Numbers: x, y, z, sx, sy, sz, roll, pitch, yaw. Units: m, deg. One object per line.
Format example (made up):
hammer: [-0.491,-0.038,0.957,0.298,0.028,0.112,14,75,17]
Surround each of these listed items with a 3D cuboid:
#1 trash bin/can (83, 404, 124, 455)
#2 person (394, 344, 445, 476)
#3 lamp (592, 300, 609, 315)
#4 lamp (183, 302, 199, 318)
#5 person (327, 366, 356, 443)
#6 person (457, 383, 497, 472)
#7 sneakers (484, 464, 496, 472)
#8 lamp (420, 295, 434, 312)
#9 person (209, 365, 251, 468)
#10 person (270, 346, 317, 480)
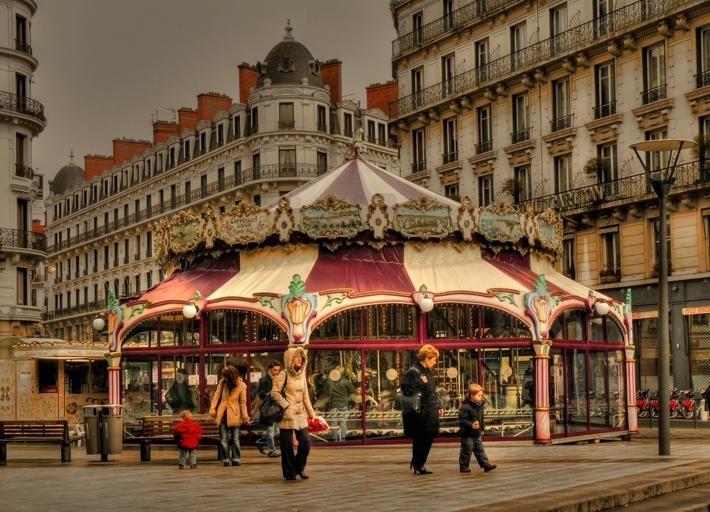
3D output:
trash bin/can: [-7.895,5.480,47.439,1.360,1.759,1.513,0,-8,-9]
person: [1.804,4.358,42.733,1.167,3.546,0.633,5,-1,-11]
lamp: [8.538,1.779,52.286,0.427,0.491,0.545,-2,6,2]
lamp: [-5.483,1.801,50.318,0.569,0.529,0.677,5,-1,-6]
person: [-0.401,4.875,49.667,0.805,2.617,0.616,-11,-9,44]
person: [3.403,4.975,43.291,0.939,2.564,0.854,-6,-9,42]
sneakers: [3.890,6.075,42.960,0.203,0.172,0.550,4,-1,28]
lamp: [2.360,1.542,49.606,0.488,0.594,0.498,4,-6,11]
person: [-3.807,4.830,45.628,1.237,2.885,0.751,1,-1,8]
person: [-1.891,4.439,42.414,1.057,3.384,1.495,3,-5,-37]
